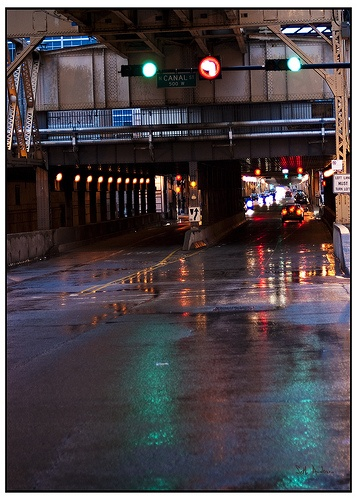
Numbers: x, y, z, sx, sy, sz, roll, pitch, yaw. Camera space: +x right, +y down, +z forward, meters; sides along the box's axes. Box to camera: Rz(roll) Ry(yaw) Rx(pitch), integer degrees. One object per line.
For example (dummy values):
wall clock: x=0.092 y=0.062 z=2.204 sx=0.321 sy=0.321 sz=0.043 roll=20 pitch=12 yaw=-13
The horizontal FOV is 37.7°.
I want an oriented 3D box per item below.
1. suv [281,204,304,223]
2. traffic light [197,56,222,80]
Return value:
suv: x=12.146 y=-3.825 z=55.842 sx=2.107 sy=1.984 sz=1.822 roll=-2 pitch=2 yaw=8
traffic light: x=0.998 y=-5.898 z=16.948 sx=0.662 sy=0.788 sz=0.703 roll=-2 pitch=2 yaw=1
